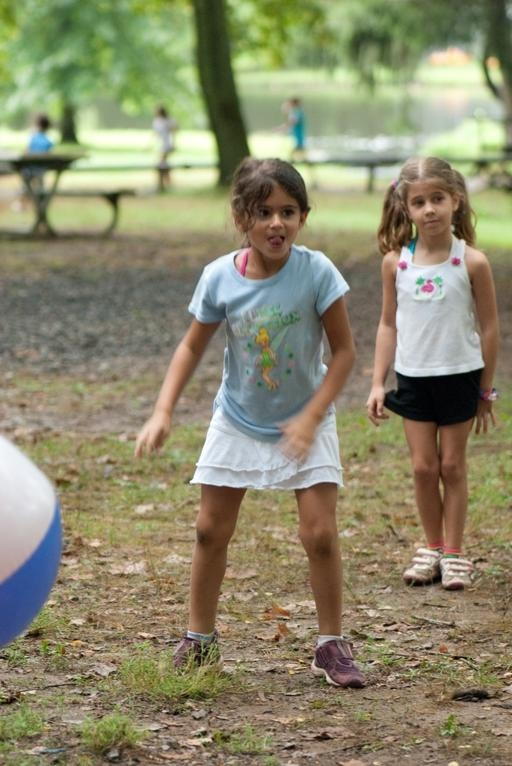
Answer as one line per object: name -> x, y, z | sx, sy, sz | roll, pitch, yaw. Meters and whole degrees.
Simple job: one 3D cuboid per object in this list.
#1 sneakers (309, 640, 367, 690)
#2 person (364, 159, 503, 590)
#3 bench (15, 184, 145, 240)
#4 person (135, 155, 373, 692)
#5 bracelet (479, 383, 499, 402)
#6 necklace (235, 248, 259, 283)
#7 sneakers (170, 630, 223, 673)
sneakers -> 0.238, 0.776, 2.737 | 0.122, 0.115, 0.261 | -3, 2, -18
person -> 0.648, -0.037, 3.528 | 0.458, 1.521, 0.456 | 3, 12, 6
bench -> -1.620, -1.636, 8.966 | 1.095, 0.345, 0.844 | -1, 1, -7
person -> 0.039, 0.113, 2.662 | 0.620, 1.429, 0.456 | 4, 12, 13
bracelet -> 0.835, 0.035, 3.446 | 0.053, 0.040, 0.062 | 1, -22, 0
necklace -> -0.018, -0.330, 2.688 | 0.024, 0.074, 0.061 | 0, -11, 21
sneakers -> -0.164, 0.742, 2.688 | 0.176, 0.061, 0.064 | -1, 1, -20
